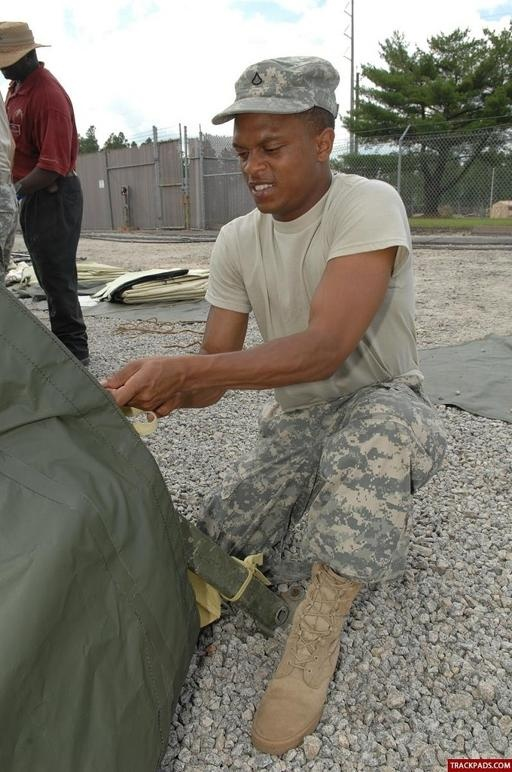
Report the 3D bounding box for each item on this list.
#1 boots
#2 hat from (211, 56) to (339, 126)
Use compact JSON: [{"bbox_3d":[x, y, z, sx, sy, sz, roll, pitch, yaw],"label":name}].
[{"bbox_3d":[0.160,0.513,1.191,0.134,0.184,0.430,19,35,11],"label":"boots"},{"bbox_3d":[0.046,-0.665,1.313,0.311,0.137,0.235,-16,22,-38],"label":"hat"}]
